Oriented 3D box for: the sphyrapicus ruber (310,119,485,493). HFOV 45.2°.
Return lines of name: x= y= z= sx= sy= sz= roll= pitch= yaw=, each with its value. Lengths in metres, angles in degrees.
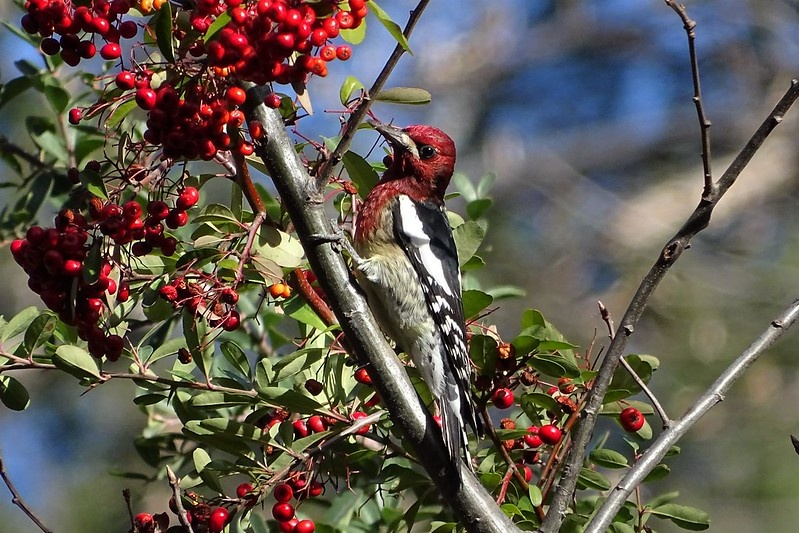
sphyrapicus ruber: x=0.192 y=0.145 z=6.874 sx=1.234 sy=2.137 sz=0.759 roll=23 pitch=-21 yaw=-19
